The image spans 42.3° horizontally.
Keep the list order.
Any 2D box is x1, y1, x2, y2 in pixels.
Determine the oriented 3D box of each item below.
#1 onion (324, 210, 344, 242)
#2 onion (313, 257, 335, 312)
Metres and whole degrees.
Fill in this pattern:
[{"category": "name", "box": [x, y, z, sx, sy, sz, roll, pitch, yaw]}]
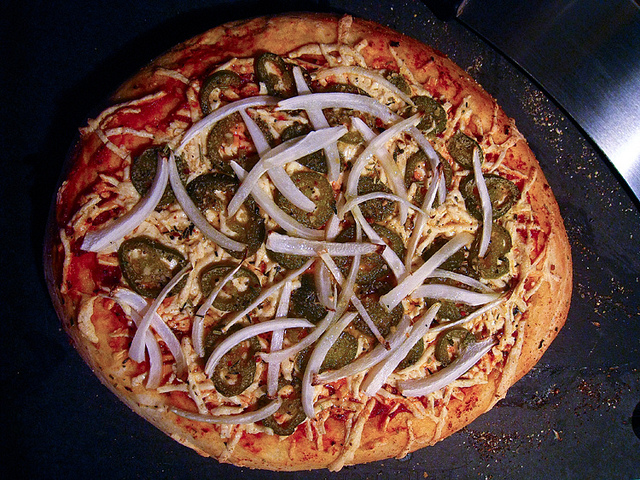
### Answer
[{"category": "onion", "box": [0.102, -0.117, 6.552, 0.096, 0.053, 0.249, 2, 96, -2]}, {"category": "onion", "box": [0.029, 0.352, 6.558, 0.118, 0.143, 0.482, -7, 98, -8]}]
